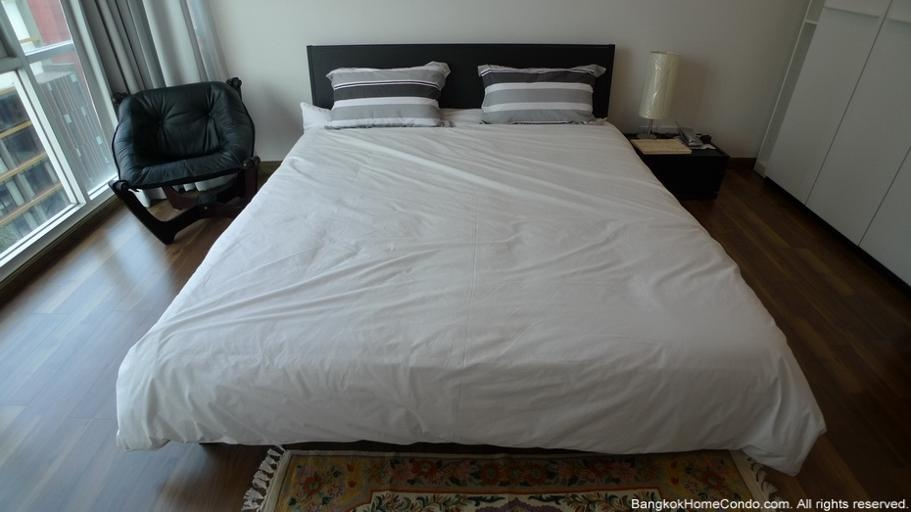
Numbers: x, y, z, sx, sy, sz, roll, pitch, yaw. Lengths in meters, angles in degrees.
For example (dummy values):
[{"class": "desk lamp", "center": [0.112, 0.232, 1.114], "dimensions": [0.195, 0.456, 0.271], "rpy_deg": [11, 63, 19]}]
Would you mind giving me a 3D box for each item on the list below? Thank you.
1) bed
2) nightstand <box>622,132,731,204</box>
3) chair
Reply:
[{"class": "bed", "center": [0.081, 0.286, 3.733], "dimensions": [3.994, 1.212, 1.934], "rpy_deg": [1, 34, 1]}, {"class": "nightstand", "center": [2.204, -0.816, 5.061], "dimensions": [0.896, 0.453, 0.556], "rpy_deg": [-2, 36, -4]}, {"class": "chair", "center": [-2.410, -0.896, 4.814], "dimensions": [1.432, 1.142, 1.316], "rpy_deg": [-1, 36, 1]}]
